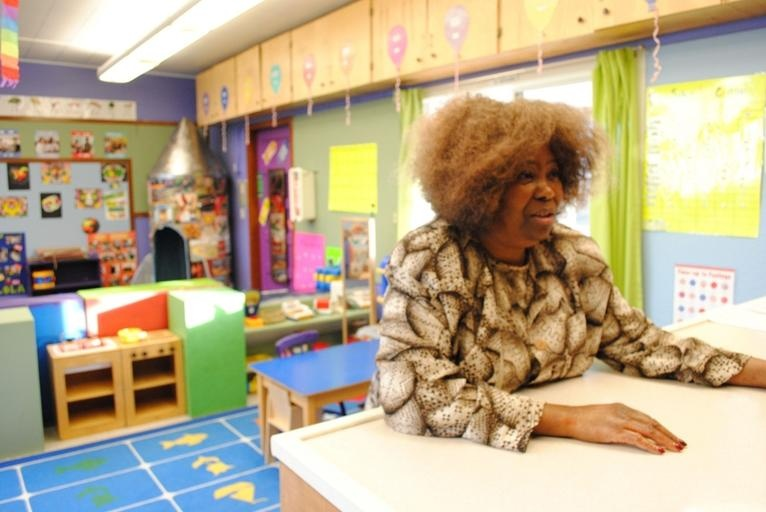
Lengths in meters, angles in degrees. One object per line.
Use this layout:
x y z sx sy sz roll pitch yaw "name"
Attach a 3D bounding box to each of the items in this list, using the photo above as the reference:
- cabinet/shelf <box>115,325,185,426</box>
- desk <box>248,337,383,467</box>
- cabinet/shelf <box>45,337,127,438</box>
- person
-1.741 0.893 4.360 0.448 0.620 0.383 -7 15 -25 "cabinet/shelf"
-0.374 0.987 3.714 0.597 0.536 0.743 12 11 44 "desk"
-2.123 0.919 4.172 0.462 0.629 0.403 -8 15 -27 "cabinet/shelf"
0.476 0.021 2.063 1.267 0.977 1.062 -3 -2 44 "person"
